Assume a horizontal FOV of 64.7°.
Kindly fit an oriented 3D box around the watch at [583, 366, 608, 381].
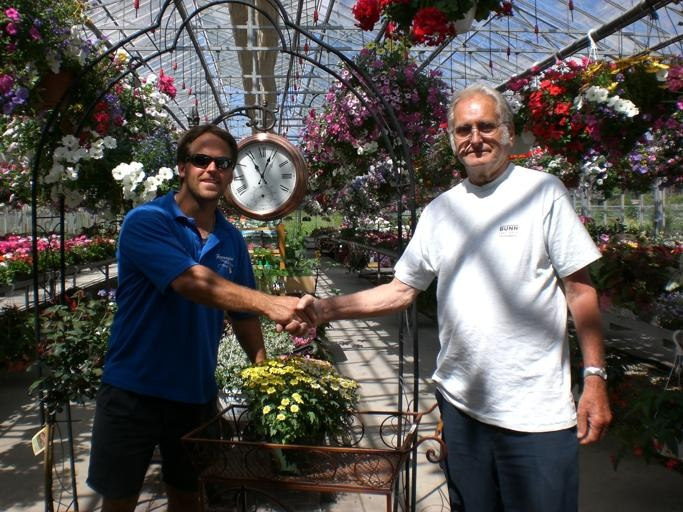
[{"bbox_3d":[0.978,0.455,2.065,0.065,0.037,0.064,0,-1,22],"label":"watch"}]
